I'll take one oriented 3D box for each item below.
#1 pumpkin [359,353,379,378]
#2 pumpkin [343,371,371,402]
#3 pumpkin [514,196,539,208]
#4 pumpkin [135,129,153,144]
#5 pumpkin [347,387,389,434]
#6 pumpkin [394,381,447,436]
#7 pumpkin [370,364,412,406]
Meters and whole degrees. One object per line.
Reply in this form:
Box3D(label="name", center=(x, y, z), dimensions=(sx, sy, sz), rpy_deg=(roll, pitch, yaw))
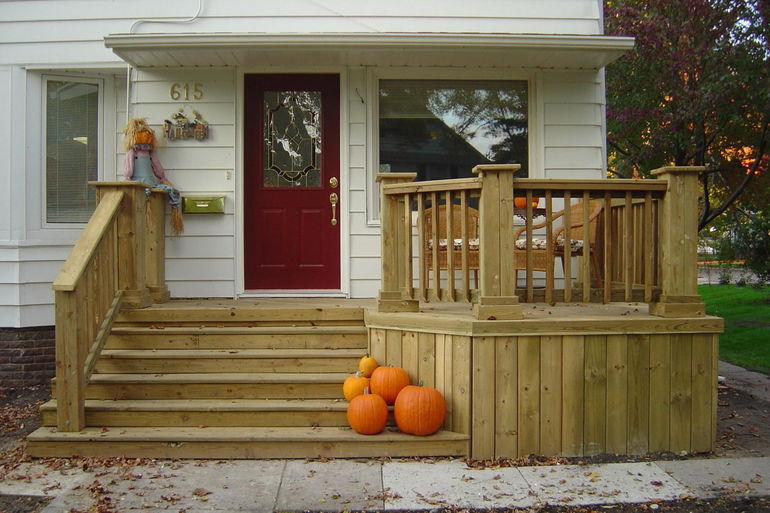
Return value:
Box3D(label="pumpkin", center=(-0.172, 1.177, 8.147), dimensions=(0.188, 0.276, 0.191), rpy_deg=(-3, -2, -1))
Box3D(label="pumpkin", center=(-0.318, 1.369, 8.048), dimensions=(0.262, 0.283, 0.273), rpy_deg=(-2, 1, 22))
Box3D(label="pumpkin", center=(1.737, -0.661, 9.339), dimensions=(0.268, 0.196, 0.280), rpy_deg=(1, -3, 3))
Box3D(label="pumpkin", center=(-3.005, -1.491, 9.472), dimensions=(0.144, 0.128, 0.173), rpy_deg=(1, 16, 2))
Box3D(label="pumpkin", center=(-0.188, 1.616, 7.966), dimensions=(0.458, 0.488, 0.445), rpy_deg=(-2, -1, 37))
Box3D(label="pumpkin", center=(0.354, 1.563, 7.848), dimensions=(0.459, 0.462, 0.480), rpy_deg=(2, 1, -10))
Box3D(label="pumpkin", center=(0.052, 1.342, 8.183), dimensions=(0.445, 0.429, 0.456), rpy_deg=(3, 2, -19))
